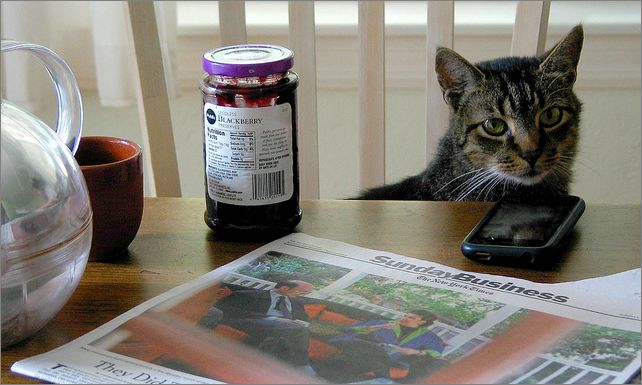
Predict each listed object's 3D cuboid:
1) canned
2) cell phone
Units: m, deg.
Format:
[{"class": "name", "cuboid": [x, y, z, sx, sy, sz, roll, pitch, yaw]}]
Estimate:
[{"class": "canned", "cuboid": [-0.086, -0.068, 0.716, 0.160, 0.241, 0.122, -9, 24, -19]}, {"class": "cell phone", "cuboid": [0.266, 0.045, 0.702, 0.101, 0.051, 0.167, 16, 27, 36]}]
